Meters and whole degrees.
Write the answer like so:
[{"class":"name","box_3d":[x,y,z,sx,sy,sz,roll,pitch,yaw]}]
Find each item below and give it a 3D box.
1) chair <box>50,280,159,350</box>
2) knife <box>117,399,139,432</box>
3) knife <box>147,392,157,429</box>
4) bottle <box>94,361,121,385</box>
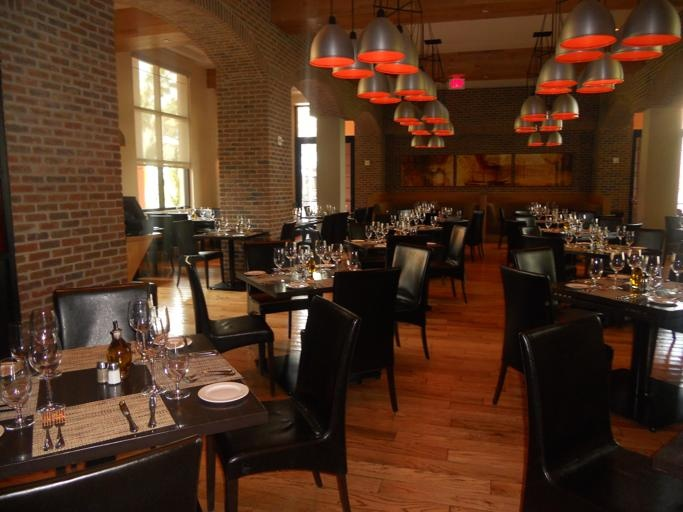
[{"class":"chair","box_3d":[-1.490,0.309,3.538,0.478,0.646,0.515,-2,1,-24]},{"class":"knife","box_3d":[-0.901,0.676,2.298,0.054,0.029,0.305,0,9,-28]},{"class":"knife","box_3d":[-0.800,0.661,2.321,0.038,0.025,0.250,-2,10,-14]},{"class":"bottle","box_3d":[-1.095,0.553,2.570,0.129,0.121,0.072,0,6,-5]}]
